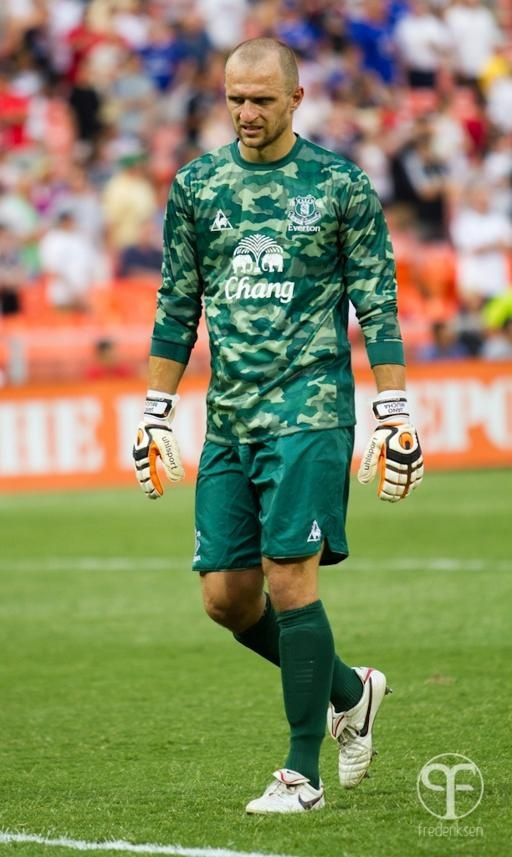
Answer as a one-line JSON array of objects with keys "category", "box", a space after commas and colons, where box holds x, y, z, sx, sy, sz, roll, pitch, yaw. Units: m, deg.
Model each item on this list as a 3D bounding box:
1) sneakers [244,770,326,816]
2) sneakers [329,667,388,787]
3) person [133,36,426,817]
[{"category": "sneakers", "box": [0.066, 0.749, 2.321, 0.184, 0.069, 0.065, 10, -18, -41]}, {"category": "sneakers", "box": [0.242, 0.688, 2.623, 0.140, 0.247, 0.093, 30, -29, -34]}, {"category": "person", "box": [0.064, -0.086, 2.532, 0.589, 1.507, 0.830, -8, 20, -19]}]
